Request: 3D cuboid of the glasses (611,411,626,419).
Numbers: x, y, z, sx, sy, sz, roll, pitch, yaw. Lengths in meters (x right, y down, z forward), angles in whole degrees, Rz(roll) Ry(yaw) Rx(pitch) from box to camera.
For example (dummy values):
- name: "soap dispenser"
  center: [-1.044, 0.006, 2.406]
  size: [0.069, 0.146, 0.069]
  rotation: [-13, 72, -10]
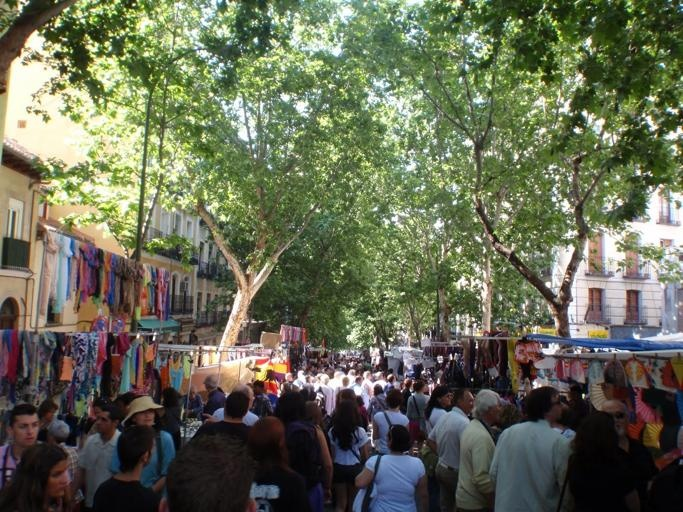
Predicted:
- name: "glasses"
  center: [3.097, 1.759, 6.244]
  size: [0.165, 0.066, 0.037]
  rotation: [2, -11, -4]

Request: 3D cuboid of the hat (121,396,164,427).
- name: "hat"
  center: [-2.422, 1.860, 6.829]
  size: [0.422, 0.339, 0.458]
  rotation: [6, -13, -20]
